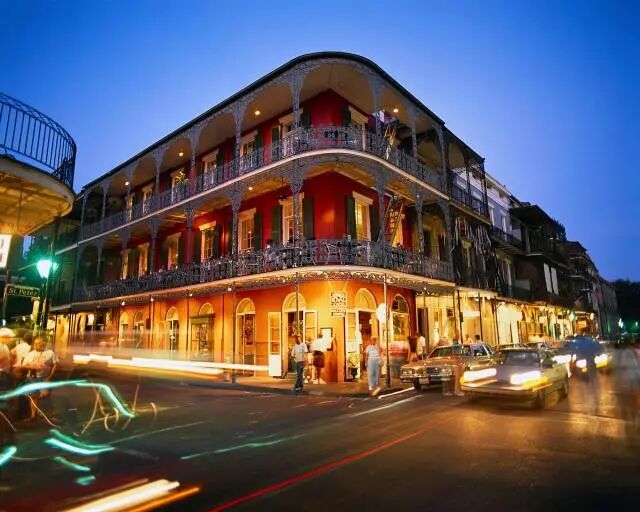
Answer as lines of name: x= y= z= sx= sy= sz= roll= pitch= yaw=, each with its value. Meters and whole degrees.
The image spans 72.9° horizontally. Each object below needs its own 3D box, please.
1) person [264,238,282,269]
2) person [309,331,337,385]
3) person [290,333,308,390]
person: x=-1.930 y=0.051 z=17.684 sx=0.361 sy=1.119 sz=1.013 roll=6 pitch=-16 yaw=-30
person: x=0.143 y=3.977 z=17.588 sx=0.896 sy=2.162 sz=0.708 roll=-2 pitch=-13 yaw=1
person: x=-0.744 y=3.886 z=15.973 sx=0.415 sy=1.963 sz=0.856 roll=-1 pitch=-13 yaw=-3
